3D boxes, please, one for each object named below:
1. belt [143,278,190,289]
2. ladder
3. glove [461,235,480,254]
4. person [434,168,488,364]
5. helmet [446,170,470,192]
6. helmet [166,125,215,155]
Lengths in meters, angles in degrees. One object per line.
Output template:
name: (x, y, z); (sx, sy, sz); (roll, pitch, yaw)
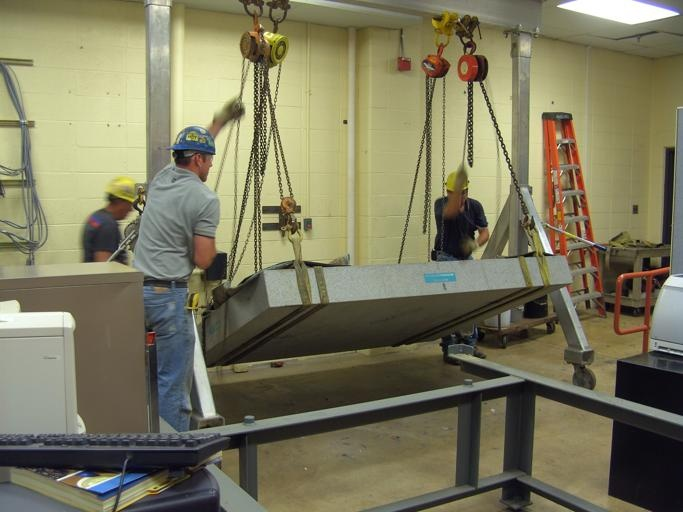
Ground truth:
belt: (-0.980, 0.152, 3.462); (0.228, 0.070, 0.066); (-3, 9, -18)
ladder: (2.803, -0.496, 7.402); (0.685, 2.438, 1.328); (7, 11, 42)
glove: (1.130, -0.099, 5.404); (0.146, 0.133, 0.142); (-4, 15, 46)
person: (0.957, 0.004, 5.221); (0.483, 1.438, 0.967); (-3, -1, 29)
helmet: (0.907, -0.578, 4.801); (0.176, 0.128, 0.230); (-13, 22, 8)
helmet: (-0.847, -0.645, 3.531); (0.210, 0.109, 0.163); (5, 5, -43)
